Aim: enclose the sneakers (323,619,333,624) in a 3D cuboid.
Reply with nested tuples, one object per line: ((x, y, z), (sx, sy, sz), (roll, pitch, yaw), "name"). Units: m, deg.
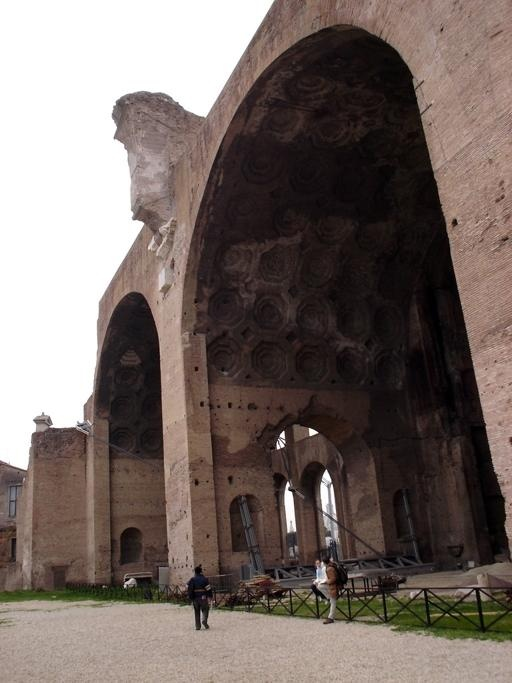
((0.758, 2.916, 6.594), (0.131, 0.048, 0.066), (10, -24, -26), "sneakers")

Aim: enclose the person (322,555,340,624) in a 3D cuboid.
((0.802, 2.742, 7.002), (0.208, 0.645, 0.765), (-8, -21, 4), "person")
